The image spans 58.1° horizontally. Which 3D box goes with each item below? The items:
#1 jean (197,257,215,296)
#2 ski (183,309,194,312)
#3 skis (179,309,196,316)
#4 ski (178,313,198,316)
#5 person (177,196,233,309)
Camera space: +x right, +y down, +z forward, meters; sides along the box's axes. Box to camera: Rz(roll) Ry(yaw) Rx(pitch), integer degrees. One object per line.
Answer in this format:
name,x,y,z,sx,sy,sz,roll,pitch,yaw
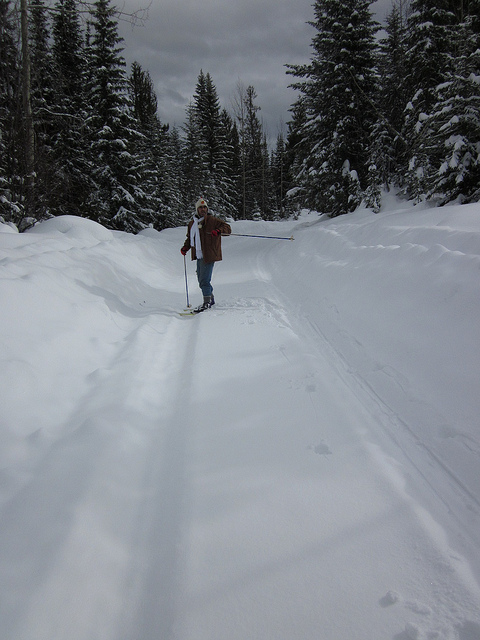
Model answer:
jean,-0.528,-0.669,6.646,0.243,0.553,0.473,-4,16,-6
ski,-0.796,-0.141,6.576,0.132,0.064,0.046,-6,-1,38
skis,-0.798,-0.126,6.464,0.241,0.030,0.381,-9,19,-19
ski,-0.768,-0.090,6.332,0.273,0.018,0.149,0,18,9
person,-0.544,-1.038,6.772,0.768,1.668,1.264,-4,16,-7
